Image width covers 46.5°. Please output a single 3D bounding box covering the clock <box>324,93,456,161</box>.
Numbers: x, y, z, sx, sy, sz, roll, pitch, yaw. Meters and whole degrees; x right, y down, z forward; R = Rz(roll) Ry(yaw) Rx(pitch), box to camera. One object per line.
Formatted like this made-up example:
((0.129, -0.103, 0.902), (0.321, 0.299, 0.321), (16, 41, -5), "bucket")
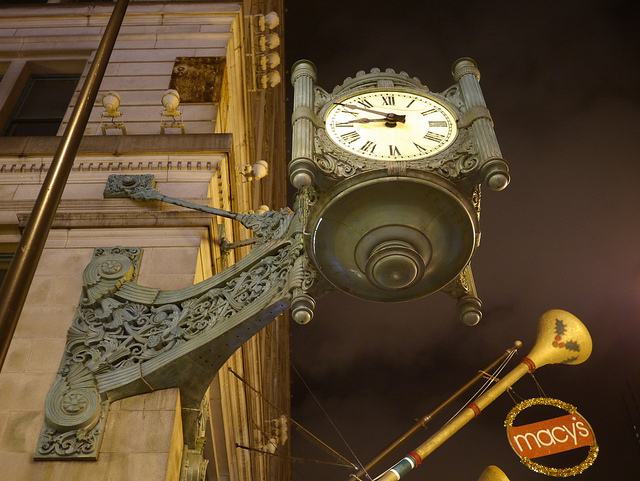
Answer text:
((0.968, -1.500, 10.169), (1.455, 0.107, 1.337), (2, 40, -5), "clock")
